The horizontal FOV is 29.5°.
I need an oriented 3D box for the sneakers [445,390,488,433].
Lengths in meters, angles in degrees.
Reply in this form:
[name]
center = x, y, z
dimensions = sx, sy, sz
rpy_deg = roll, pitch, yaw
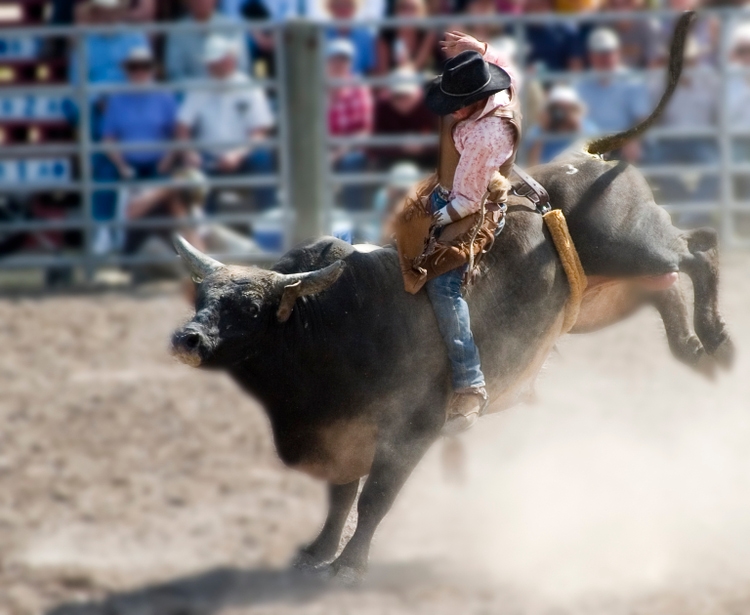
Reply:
[sneakers]
center = 0.504, 0.575, 7.988
dimensions = 0.190, 0.270, 0.116
rpy_deg = 33, 16, 6

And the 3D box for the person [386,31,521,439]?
[person]
center = 0.448, -0.402, 7.905
dimensions = 0.628, 2.172, 0.616
rpy_deg = 5, 19, 13

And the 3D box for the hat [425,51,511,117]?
[hat]
center = 0.485, -1.211, 7.716
dimensions = 0.425, 0.150, 0.321
rpy_deg = -21, 41, 8
